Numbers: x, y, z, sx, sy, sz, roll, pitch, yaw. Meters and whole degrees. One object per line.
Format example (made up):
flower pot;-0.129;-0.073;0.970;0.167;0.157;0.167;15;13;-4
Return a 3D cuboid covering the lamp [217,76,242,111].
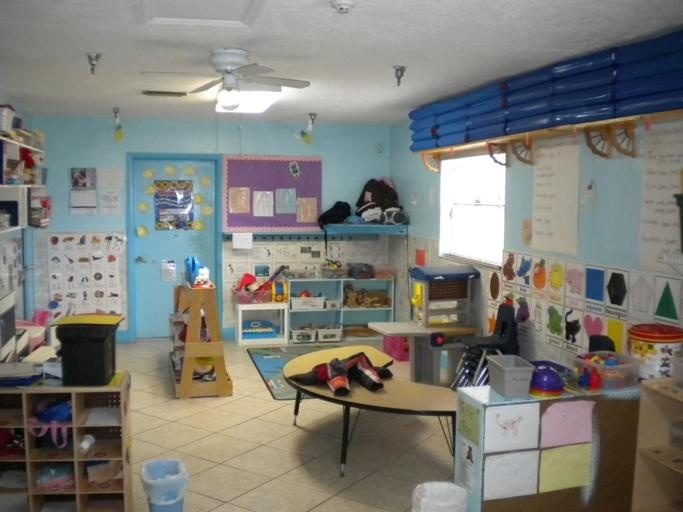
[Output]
lamp;-1.005;-1.439;4.831;0.227;0.295;0.224;-2;17;-16

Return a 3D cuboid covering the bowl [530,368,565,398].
bowl;1.403;0.853;3.763;0.187;0.136;0.188;-1;2;0

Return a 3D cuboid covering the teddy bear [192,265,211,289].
teddy bear;-1.630;0.259;6.312;0.153;0.262;0.256;1;6;-8

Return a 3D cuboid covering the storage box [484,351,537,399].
storage box;1.150;0.815;3.744;0.228;0.203;0.311;0;2;-11

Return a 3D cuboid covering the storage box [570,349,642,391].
storage box;1.894;0.817;3.940;0.334;0.121;0.267;0;0;-13

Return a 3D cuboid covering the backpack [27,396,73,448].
backpack;-2.062;1.218;3.920;0.353;0.349;0.126;2;4;5

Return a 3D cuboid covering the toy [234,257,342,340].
toy;-0.828;0.725;8.560;1.650;1.143;0.628;-2;9;-12

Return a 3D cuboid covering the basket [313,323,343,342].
basket;-0.186;1.198;8.475;0.352;0.142;0.232;0;1;-20

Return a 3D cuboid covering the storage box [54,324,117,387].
storage box;-1.784;0.672;3.932;0.417;0.449;0.521;0;1;-19

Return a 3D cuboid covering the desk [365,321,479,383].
desk;0.915;1.160;6.200;0.995;0.569;0.752;-2;6;-19

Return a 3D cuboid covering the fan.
fan;-0.896;-1.602;4.844;0.801;0.334;1.258;-5;10;-27

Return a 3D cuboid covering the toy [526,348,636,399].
toy;1.747;0.842;3.898;0.517;0.125;0.362;0;1;-10

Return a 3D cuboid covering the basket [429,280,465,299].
basket;1.204;0.397;6.214;0.513;0.226;0.087;-5;10;-27

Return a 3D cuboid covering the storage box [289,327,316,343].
storage box;-0.584;1.205;8.430;0.296;0.149;0.242;2;-1;-26

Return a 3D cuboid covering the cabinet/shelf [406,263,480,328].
cabinet/shelf;1.157;0.383;6.465;0.826;0.740;0.708;-1;5;-17

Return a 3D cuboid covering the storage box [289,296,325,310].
storage box;-0.520;0.739;8.404;0.532;0.238;0.173;-1;9;-6

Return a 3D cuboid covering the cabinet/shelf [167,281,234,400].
cabinet/shelf;-1.718;1.044;6.651;0.462;0.902;1.294;-2;4;-14

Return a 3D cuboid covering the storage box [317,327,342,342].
storage box;-0.186;1.208;8.467;0.297;0.120;0.204;1;-1;-14

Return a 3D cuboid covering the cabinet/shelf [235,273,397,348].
cabinet/shelf;-0.447;0.802;8.572;2.333;0.951;0.554;0;5;-7

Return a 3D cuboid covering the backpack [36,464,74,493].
backpack;-2.073;1.611;4.003;0.265;0.141;0.198;-1;9;-9
